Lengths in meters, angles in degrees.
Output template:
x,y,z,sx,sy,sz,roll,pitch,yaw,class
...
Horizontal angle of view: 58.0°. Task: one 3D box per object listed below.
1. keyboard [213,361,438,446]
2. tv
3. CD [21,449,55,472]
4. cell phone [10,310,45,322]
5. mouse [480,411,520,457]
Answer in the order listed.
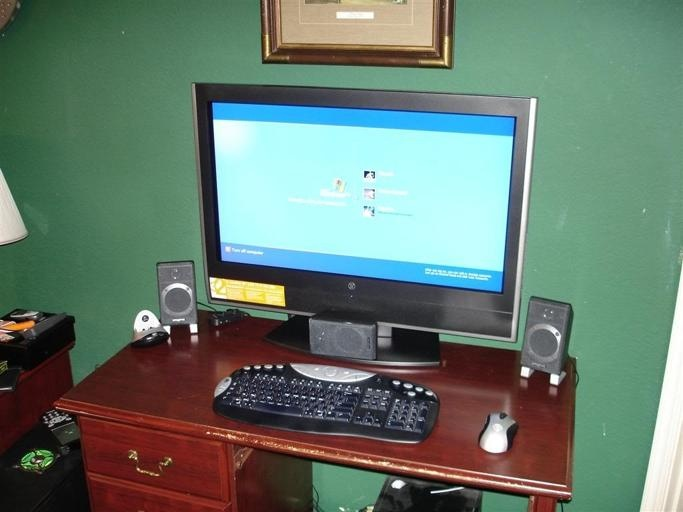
x,y,z,sx,sy,sz,roll,pitch,yaw,class
-0.048,0.410,1.777,0.647,0.133,0.224,7,7,8,keyboard
0.103,-0.113,1.937,0.832,0.650,0.228,5,13,15,tv
-1.039,0.695,2.104,0.115,0.041,0.079,8,7,18,CD
-1.198,0.226,2.344,0.140,0.025,0.077,6,7,2,cell phone
0.419,0.475,1.657,0.089,0.087,0.085,8,7,19,mouse
